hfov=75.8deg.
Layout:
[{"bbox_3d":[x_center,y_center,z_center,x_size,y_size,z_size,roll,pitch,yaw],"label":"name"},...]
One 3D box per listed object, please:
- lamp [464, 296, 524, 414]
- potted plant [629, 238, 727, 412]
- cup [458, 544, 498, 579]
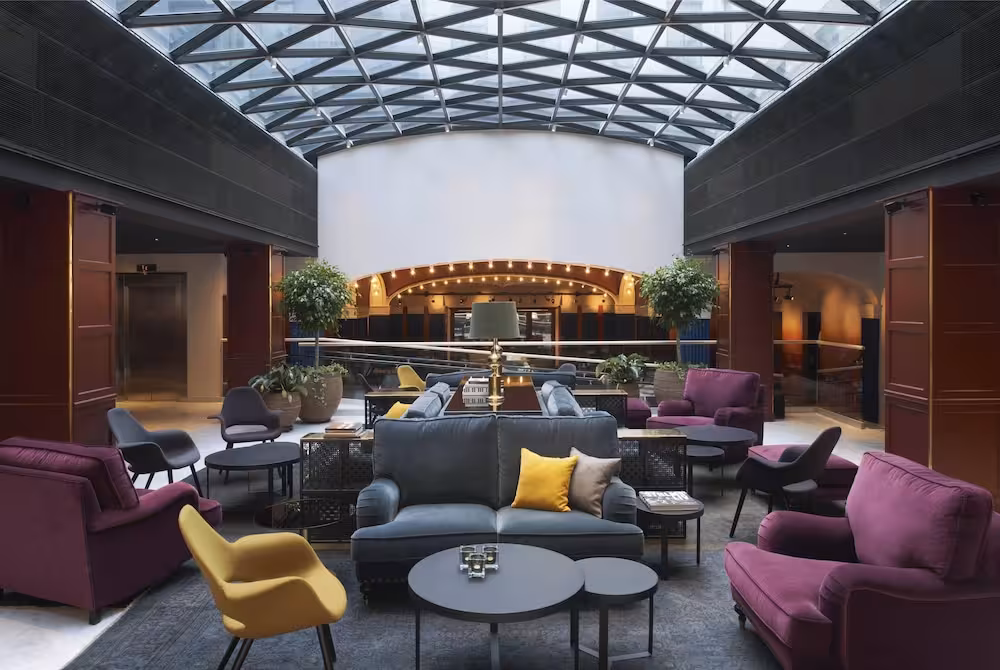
[{"bbox_3d":[-0.063,0.242,7.951,0.590,1.229,0.566,0,-5,-3],"label":"lamp"},{"bbox_3d":[3.793,-0.472,13.463,1.488,1.822,1.654,5,1,18],"label":"potted plant"},{"bbox_3d":[-0.161,1.908,5.491,0.381,0.207,0.321,-2,2,-13],"label":"cup"}]
